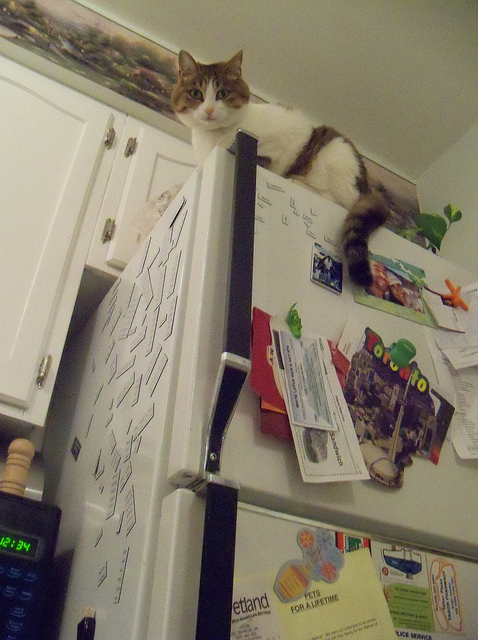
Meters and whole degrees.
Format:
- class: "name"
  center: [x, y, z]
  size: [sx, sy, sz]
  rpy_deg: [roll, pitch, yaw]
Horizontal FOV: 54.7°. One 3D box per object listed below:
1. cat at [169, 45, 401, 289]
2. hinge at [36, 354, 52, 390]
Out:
- class: "cat"
  center: [0.206, -0.537, 1.502]
  size: [0.838, 0.512, 0.609]
  rpy_deg: [5, 4, -7]
- class: "hinge"
  center: [-0.425, 0.110, 1.009]
  size: [0.027, 0.059, 0.013]
  rpy_deg: [21, -27, -27]
